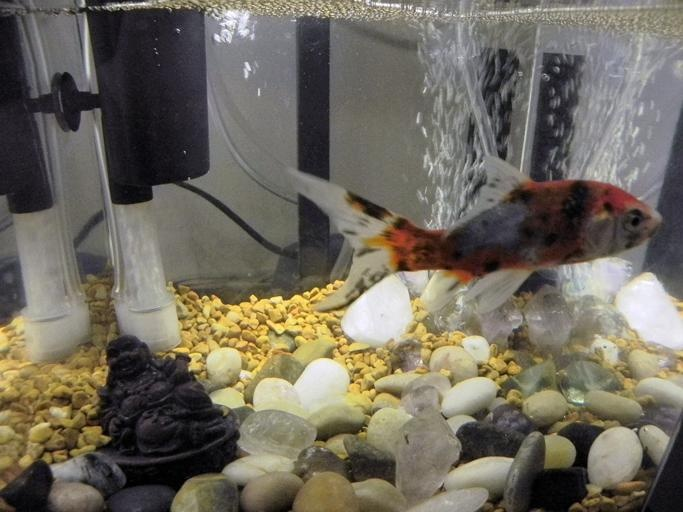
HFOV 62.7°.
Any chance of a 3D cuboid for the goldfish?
[{"bbox_3d":[0.283,-0.034,1.123,0.701,0.323,0.100,-4,21,-1],"label":"goldfish"}]
